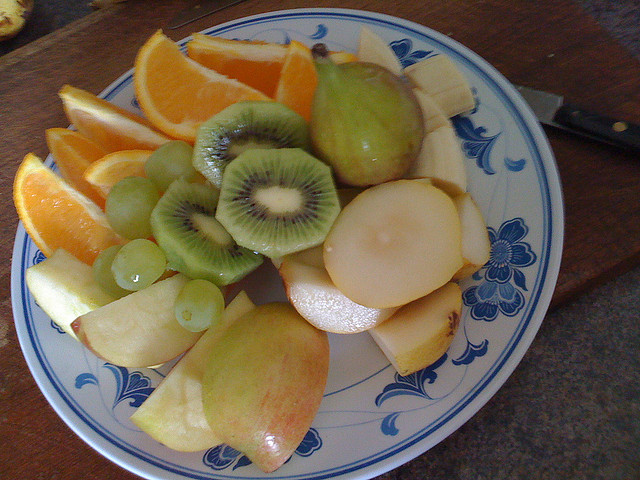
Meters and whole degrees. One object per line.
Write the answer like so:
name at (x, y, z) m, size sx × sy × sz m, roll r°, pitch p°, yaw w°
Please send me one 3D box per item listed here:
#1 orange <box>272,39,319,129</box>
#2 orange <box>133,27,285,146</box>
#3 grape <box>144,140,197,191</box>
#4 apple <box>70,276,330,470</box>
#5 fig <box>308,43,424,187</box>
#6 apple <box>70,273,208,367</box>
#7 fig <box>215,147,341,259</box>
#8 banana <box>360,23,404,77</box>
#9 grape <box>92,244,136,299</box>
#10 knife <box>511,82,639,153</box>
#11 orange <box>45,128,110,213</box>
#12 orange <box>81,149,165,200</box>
orange at (-0.041, -0.282, 1.163) m, size 0.106 × 0.150 × 0.049 m, roll 20°, pitch -9°, yaw -34°
orange at (-0.198, -0.284, 1.122) m, size 0.279 × 0.203 × 0.090 m, roll 5°, pitch -12°, yaw 11°
grape at (-0.253, -0.136, 1.111) m, size 0.091 × 0.086 × 0.048 m, roll 0°, pitch 1°, yaw -2°
apple at (-0.195, 0.204, 1.141) m, size 0.399 × 0.150 × 0.434 m, roll 27°, pitch 23°, yaw 9°
fig at (0.052, -0.233, 1.152) m, size 0.251 × 0.216 × 0.215 m, roll 5°, pitch 36°, yaw -4°
apple at (-0.289, 0.148, 1.146) m, size 0.261 × 0.151 × 0.134 m, roll -18°, pitch 36°, yaw 10°
fig at (-0.066, -0.069, 1.085) m, size 0.216 × 0.193 × 0.054 m, roll 2°, pitch 1°, yaw 4°
banana at (0.111, -0.383, 1.275) m, size 0.123 × 0.119 × 0.101 m, roll -5°, pitch 21°, yaw -4°
grape at (-0.377, 0.058, 1.157) m, size 0.082 × 0.082 × 0.095 m, roll -8°, pitch 32°, yaw -10°
knife at (0.504, -0.233, 1.224) m, size 0.287 × 0.040 × 0.030 m, roll 25°, pitch -13°, yaw 15°
orange at (-0.466, -0.130, 1.208) m, size 0.096 × 0.108 × 0.130 m, roll -25°, pitch 45°, yaw -31°
orange at (-0.374, -0.131, 1.229) m, size 0.164 × 0.090 × 0.149 m, roll -16°, pitch 32°, yaw -22°
